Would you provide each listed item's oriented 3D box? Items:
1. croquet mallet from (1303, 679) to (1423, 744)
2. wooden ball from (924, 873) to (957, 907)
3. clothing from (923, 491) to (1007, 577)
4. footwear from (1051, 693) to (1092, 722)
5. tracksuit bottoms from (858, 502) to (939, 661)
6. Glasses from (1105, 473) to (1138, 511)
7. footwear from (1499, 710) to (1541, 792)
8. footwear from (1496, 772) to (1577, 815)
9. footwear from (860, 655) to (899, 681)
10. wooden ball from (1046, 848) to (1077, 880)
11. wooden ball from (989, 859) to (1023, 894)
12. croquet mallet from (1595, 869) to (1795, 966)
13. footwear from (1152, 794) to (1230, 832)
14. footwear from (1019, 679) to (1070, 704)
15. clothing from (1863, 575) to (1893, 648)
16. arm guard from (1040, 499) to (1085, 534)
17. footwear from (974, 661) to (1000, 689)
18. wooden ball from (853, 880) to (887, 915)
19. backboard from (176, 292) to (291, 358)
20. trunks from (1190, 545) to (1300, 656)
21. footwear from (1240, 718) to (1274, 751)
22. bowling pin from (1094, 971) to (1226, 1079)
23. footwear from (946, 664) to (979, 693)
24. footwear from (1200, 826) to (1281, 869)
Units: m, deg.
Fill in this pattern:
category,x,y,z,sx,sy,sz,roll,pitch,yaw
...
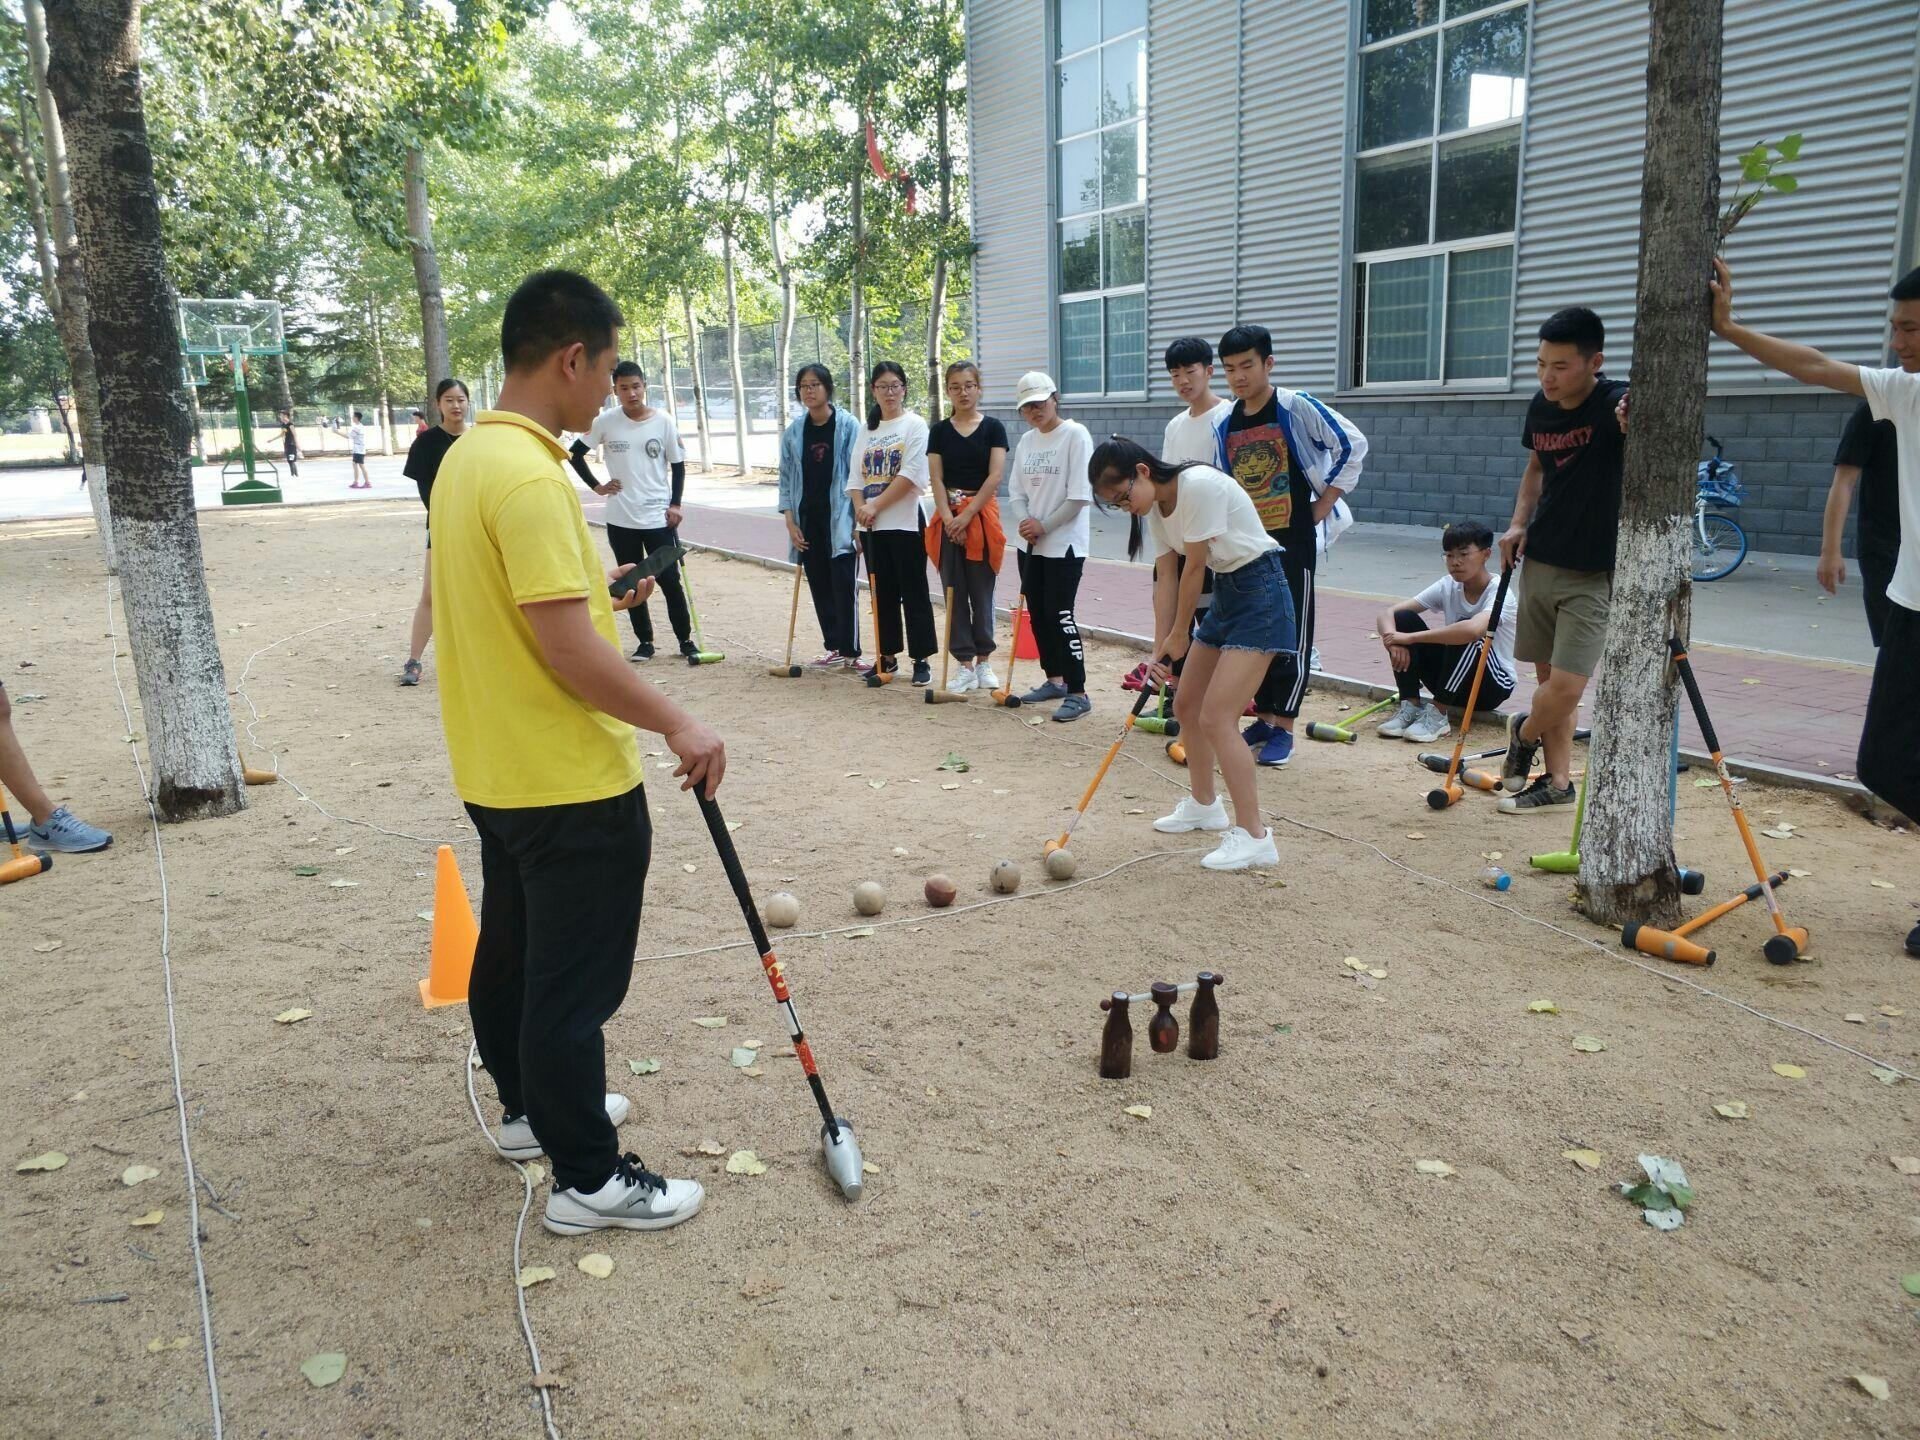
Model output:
category,x,y,z,sx,sy,sz,roll,pitch,yaw
croquet mallet,2.437,-0.023,9.559,0.706,0.074,0.275,-19,11,-41
wooden ball,-0.097,0.788,7.151,0.139,0.124,0.120,-1,16,2
clothing,0.018,-1.255,10.419,0.536,0.537,0.295,1,16,7
footwear,0.711,-0.074,9.988,0.118,0.136,0.338,0,5,31
tracksuit bottoms,-0.439,-0.971,10.939,0.472,1.322,0.389,-5,37,-3
Glasses,0.779,-1.084,7.357,0.140,0.045,0.147,-7,46,57
footwear,2.955,0.211,8.259,0.162,0.490,0.204,3,19,3
footwear,3.008,0.406,8.159,0.497,0.233,0.164,1,-1,-10
footwear,-0.571,-0.346,11.163,0.116,0.154,0.336,-3,4,23
wooden ball,0.479,0.688,7.366,0.181,0.216,0.093,-1,-8,5
wooden ball,0.215,0.732,7.285,0.142,0.134,0.134,0,2,0
croquet mallet,3.418,0.846,6.901,1.326,0.133,0.361,-12,17,-40
footwear,1.180,0.477,7.870,0.415,0.190,0.163,0,2,-1
footwear,0.553,-0.185,10.414,0.350,0.139,0.128,-5,9,-16
clothing,4.153,-0.470,7.027,0.066,0.223,0.095,-3,2,-41
arm guard,0.646,-1.272,9.806,0.291,0.213,0.136,-4,16,-10
footwear,0.185,-0.317,10.818,0.106,0.120,0.255,-4,13,-20
wooden ball,-0.412,0.811,7.125,0.137,0.144,0.142,9,40,-7
backboard,-14.356,-7.733,30.724,1.293,1.027,2.879,-4,16,-10
trunks,1.384,-0.556,7.530,0.346,0.566,0.667,0,5,-27
footwear,1.682,0.088,8.759,0.110,0.134,0.304,-19,18,-30
bowling pin,0.767,1.166,5.949,0.528,0.339,0.124,-7,18,-23
footwear,0.015,-0.269,10.745,0.119,0.144,0.288,0,1,28
footwear,1.342,0.616,7.469,0.402,0.209,0.168,-1,1,-7
